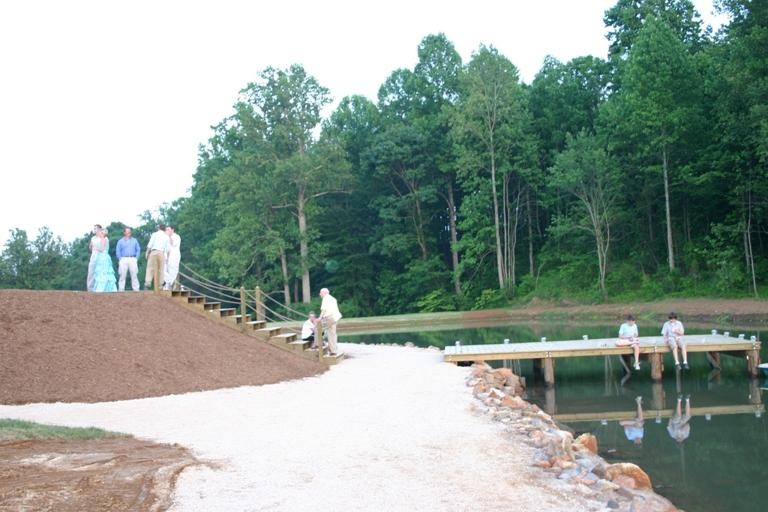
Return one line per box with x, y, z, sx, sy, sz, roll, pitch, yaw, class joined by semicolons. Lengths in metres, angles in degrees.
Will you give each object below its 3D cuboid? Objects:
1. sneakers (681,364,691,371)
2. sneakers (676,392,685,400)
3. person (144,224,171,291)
13.968;5.090;42.656;0.228;0.218;0.661;-3;-4;6;sneakers
12.994;6.113;40.449;0.239;0.259;0.237;-3;-2;22;sneakers
-10.546;0.036;43.101;1.078;3.152;1.504;0;-6;-14;person
